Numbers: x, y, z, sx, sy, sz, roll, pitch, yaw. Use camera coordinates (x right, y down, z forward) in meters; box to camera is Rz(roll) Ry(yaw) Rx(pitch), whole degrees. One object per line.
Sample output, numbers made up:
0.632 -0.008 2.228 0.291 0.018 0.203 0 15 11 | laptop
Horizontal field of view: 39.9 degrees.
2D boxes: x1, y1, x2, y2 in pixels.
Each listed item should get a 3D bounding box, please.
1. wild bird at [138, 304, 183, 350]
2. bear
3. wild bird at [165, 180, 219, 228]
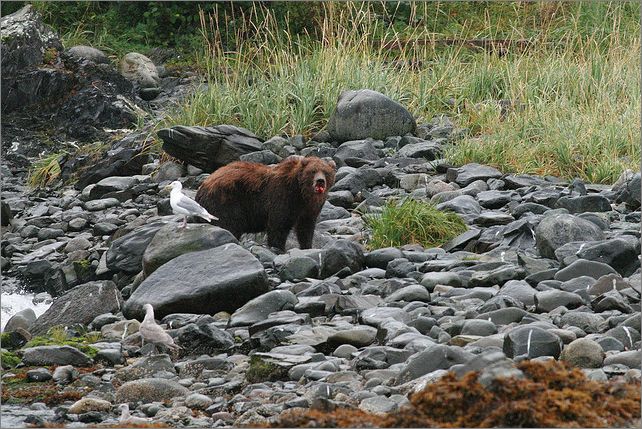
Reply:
-2.198 1.477 12.025 0.747 0.653 0.471 5 -8 -2 | wild bird
-0.756 -0.132 14.648 2.814 1.505 1.075 3 10 37 | bear
-1.965 -0.156 13.438 0.892 0.613 0.354 9 -6 -23 | wild bird
